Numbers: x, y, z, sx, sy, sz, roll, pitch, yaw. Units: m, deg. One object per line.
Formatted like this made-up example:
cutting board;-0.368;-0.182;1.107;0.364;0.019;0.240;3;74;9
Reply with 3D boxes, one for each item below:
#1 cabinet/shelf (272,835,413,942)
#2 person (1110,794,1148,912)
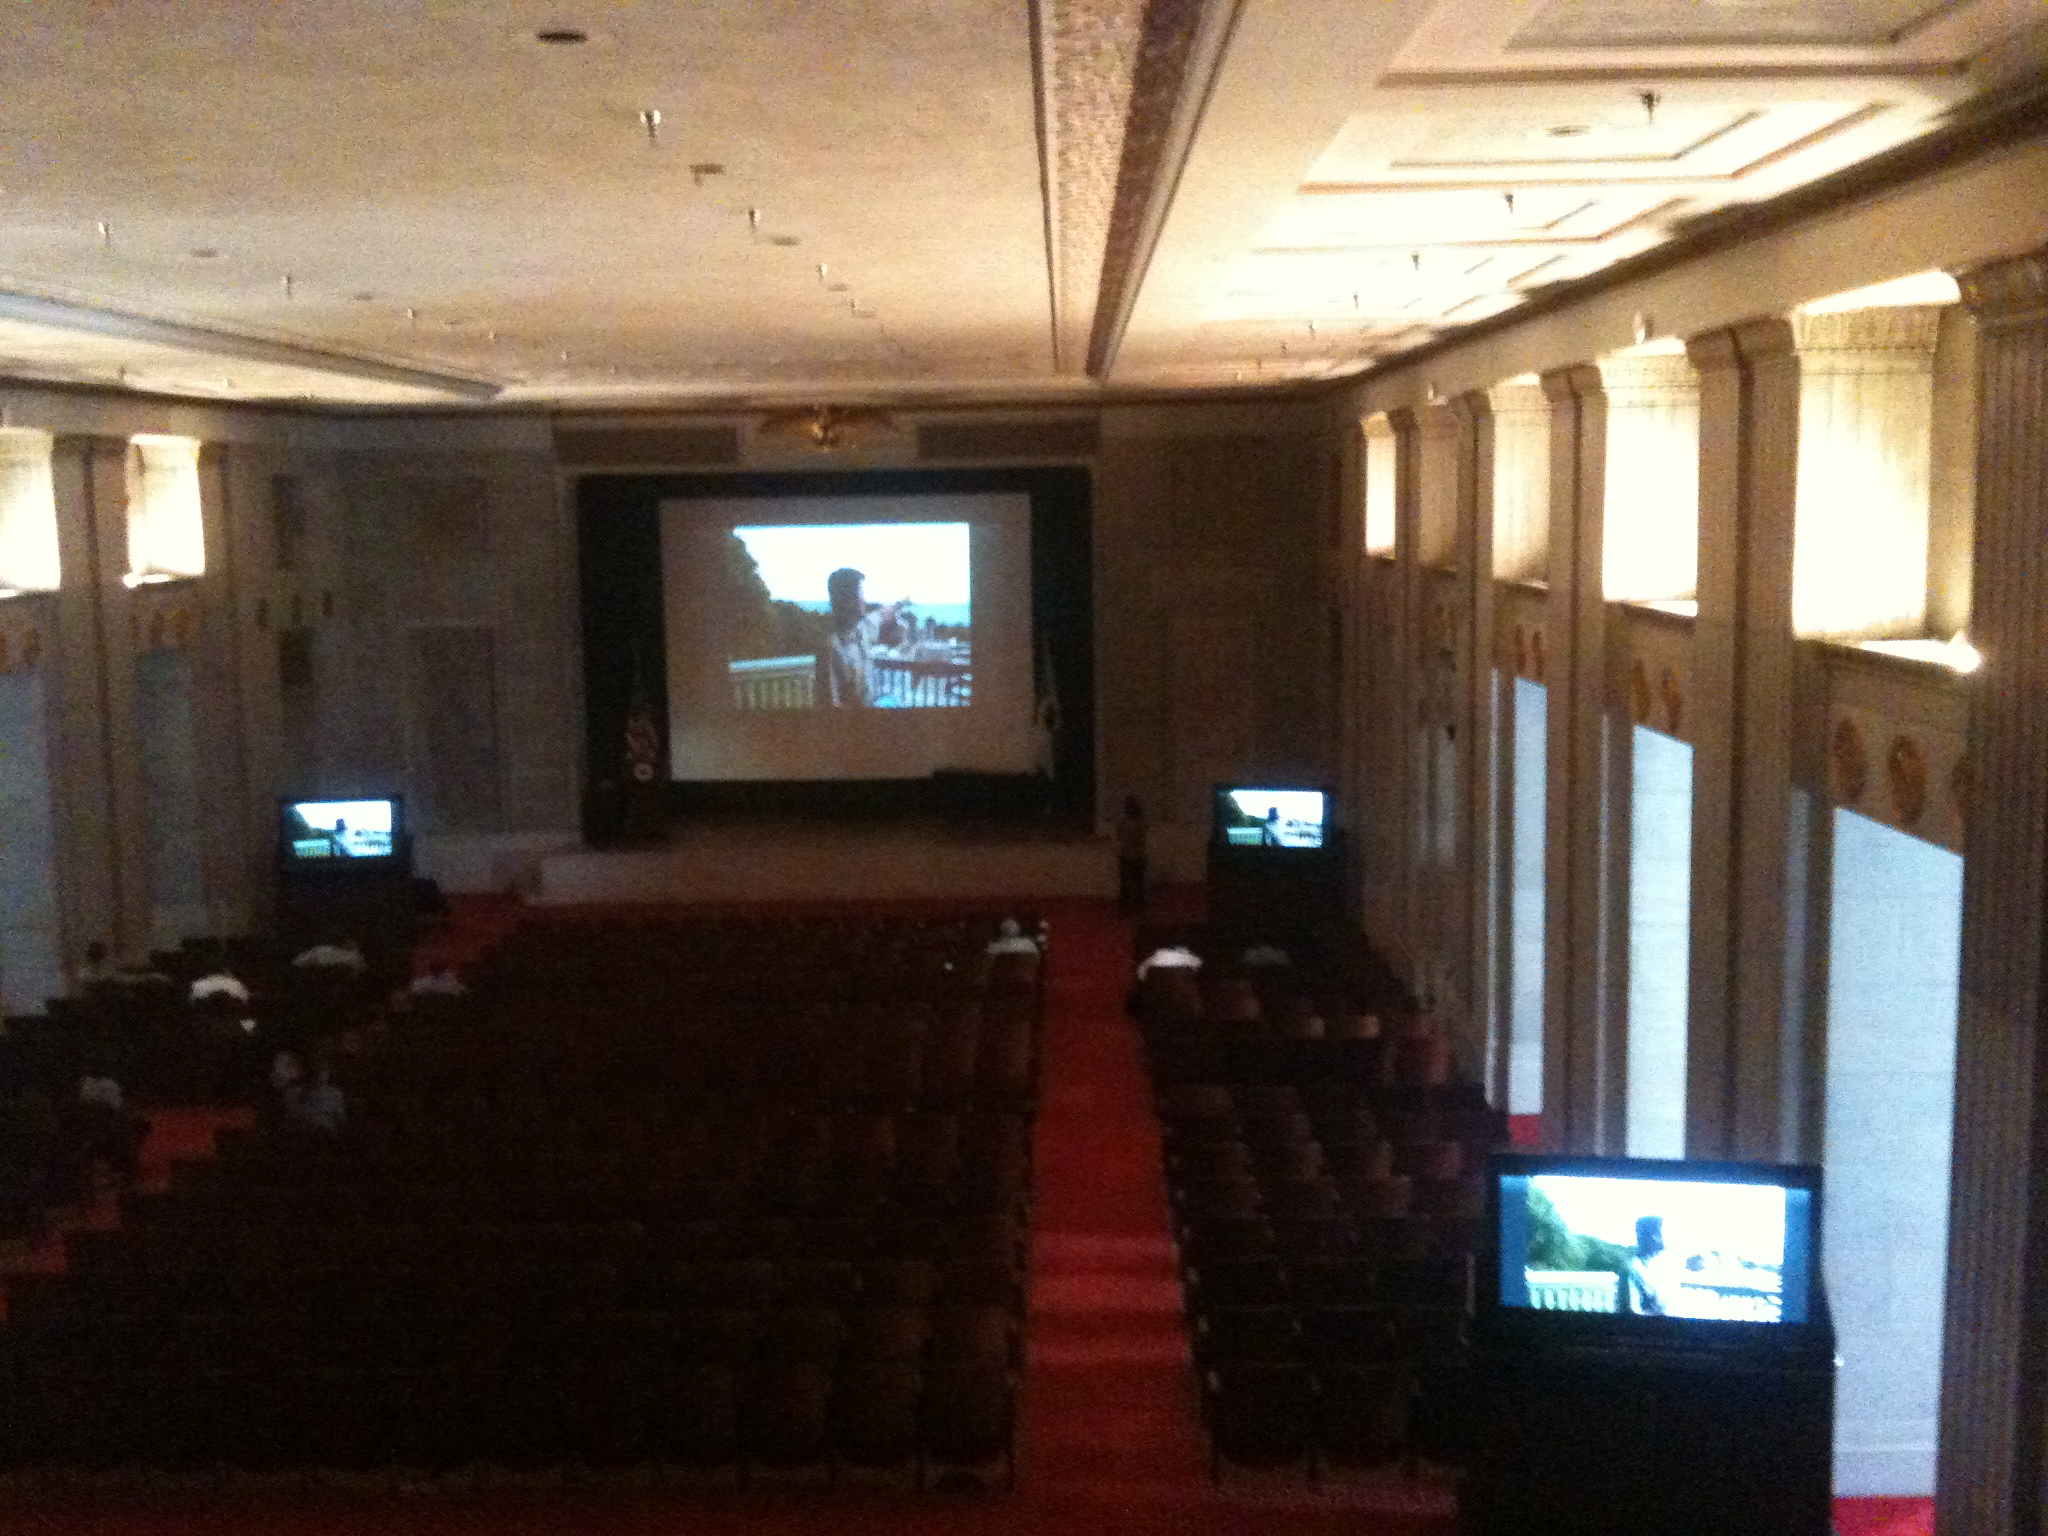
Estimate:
cabinet/shelf;-7.264;1.355;19.508;1.820;1.090;0.912;-1;1;-13
person;1.260;0.972;21.054;0.325;1.352;0.330;1;10;-15
